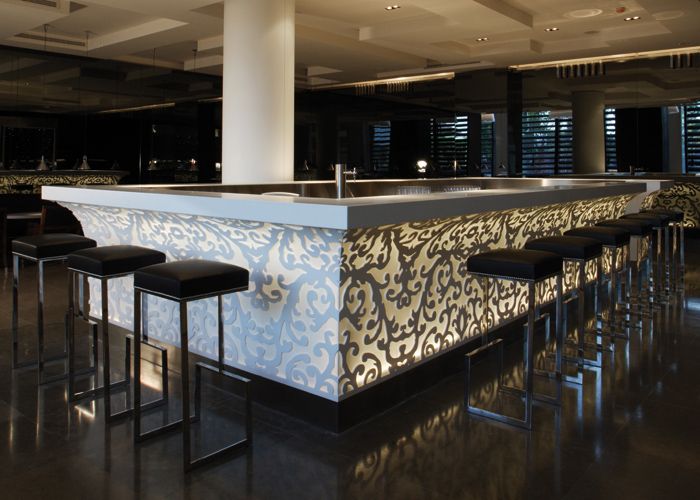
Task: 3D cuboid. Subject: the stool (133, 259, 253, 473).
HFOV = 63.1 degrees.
[{"bbox_3d":[-0.957,0.632,3.447,0.691,1.109,0.631,-3,8,-23],"label":"stool"}]
